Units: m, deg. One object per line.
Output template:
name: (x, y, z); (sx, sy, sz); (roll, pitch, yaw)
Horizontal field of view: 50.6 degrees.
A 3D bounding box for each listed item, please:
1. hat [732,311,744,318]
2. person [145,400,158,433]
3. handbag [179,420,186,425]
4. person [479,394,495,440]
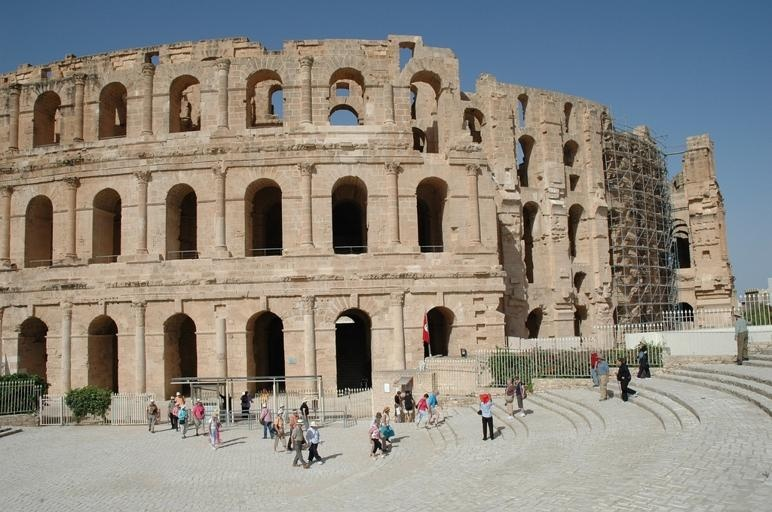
hat: (19.568, 3.246, 45.471); (0.447, 0.250, 0.564); (0, -3, -5)
person: (-13.071, 9.037, 45.853); (0.566, 1.472, 1.671); (-3, 15, -18)
handbag: (-11.022, 9.008, 44.207); (0.299, 0.204, 0.286); (1, -4, -7)
person: (4.937, 7.606, 39.661); (0.811, 2.372, 1.284); (4, 15, 7)
